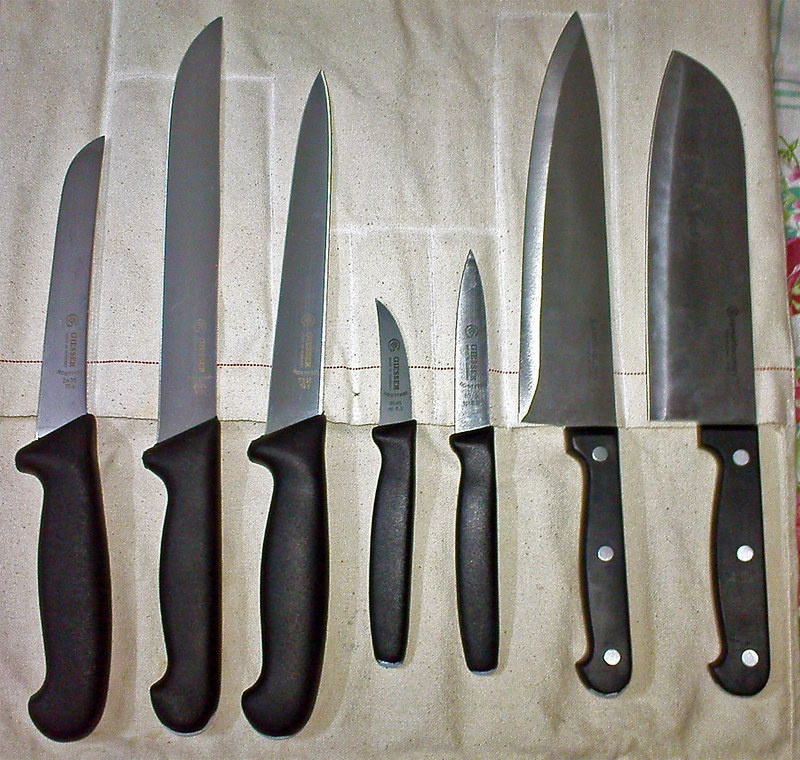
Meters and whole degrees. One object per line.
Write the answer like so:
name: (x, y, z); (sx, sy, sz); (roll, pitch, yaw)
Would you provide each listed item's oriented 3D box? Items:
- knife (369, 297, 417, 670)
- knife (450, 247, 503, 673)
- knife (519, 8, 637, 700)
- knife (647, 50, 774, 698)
knife: (-0.009, 0.138, 1.624); (0.046, 0.494, 0.024); (1, -10, -6)
knife: (0.101, 0.108, 1.661); (0.064, 0.562, 0.077); (0, 0, 2)
knife: (0.249, -0.041, 1.683); (0.154, 0.944, 0.113); (0, 0, 21)
knife: (0.433, -0.025, 1.684); (0.158, 0.930, 0.100); (0, 0, 14)
